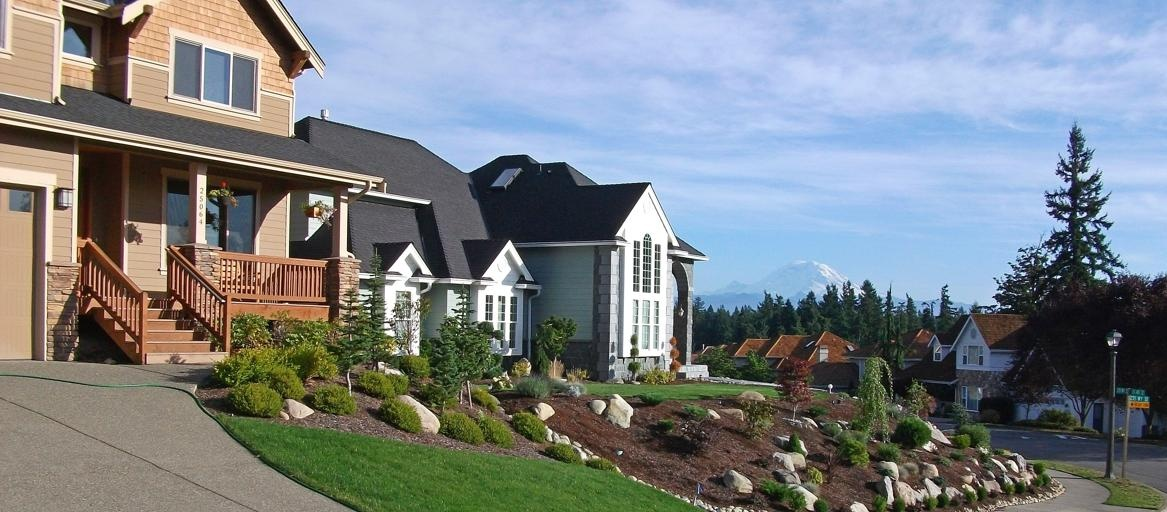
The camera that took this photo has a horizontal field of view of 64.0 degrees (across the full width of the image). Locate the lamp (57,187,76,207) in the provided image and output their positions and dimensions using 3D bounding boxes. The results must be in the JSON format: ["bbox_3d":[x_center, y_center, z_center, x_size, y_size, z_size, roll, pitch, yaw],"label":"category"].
[{"bbox_3d":[-25.119,-2.765,45.255,0.814,1.102,0.234,8,-9,-25],"label":"lamp"}]

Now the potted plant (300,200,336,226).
[{"bbox_3d":[-15.161,-2.453,53.104,1.608,0.880,2.057,-3,-7,32],"label":"potted plant"}]

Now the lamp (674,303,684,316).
[{"bbox_3d":[6.996,4.082,69.379,0.854,0.752,0.311,-4,-12,43],"label":"lamp"}]
